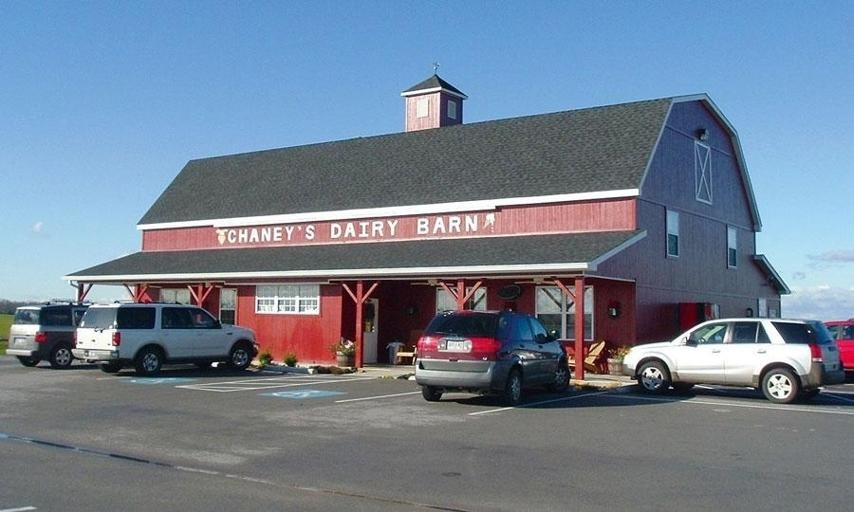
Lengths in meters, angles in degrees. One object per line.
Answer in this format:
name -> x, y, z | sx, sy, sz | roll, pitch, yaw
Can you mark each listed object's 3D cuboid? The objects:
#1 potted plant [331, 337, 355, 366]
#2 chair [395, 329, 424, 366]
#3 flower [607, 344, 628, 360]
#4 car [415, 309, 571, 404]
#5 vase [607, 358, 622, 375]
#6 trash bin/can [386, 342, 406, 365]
potted plant -> -3.435, 4.017, 30.965 | 0.879, 0.968, 0.965 | 3, -18, -12
chair -> -0.812, 3.918, 32.255 | 1.352, 1.811, 1.356 | -3, -9, 25
flower -> 7.382, 3.725, 29.075 | 0.556, 0.345, 0.502 | -6, 4, -39
car -> 2.145, 3.007, 22.265 | 4.380, 2.728, 1.724 | 8, -14, -35
vase -> 7.112, 4.198, 28.482 | 0.598, 0.692, 0.416 | -6, -13, 29
trash bin/can -> -1.542, 4.235, 32.789 | 0.845, 1.043, 0.898 | -4, -11, 32
